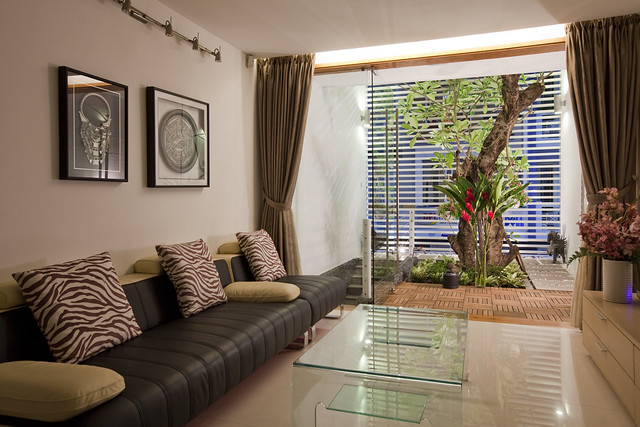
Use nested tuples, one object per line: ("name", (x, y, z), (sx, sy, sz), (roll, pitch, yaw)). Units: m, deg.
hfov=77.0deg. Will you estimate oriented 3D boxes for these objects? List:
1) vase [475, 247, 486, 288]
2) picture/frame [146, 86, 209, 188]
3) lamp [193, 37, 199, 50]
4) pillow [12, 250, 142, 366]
("vase", (2.584, 0.873, 6.467), (0.163, 0.610, 0.252), (2, 7, 26))
("picture/frame", (-1.442, -0.752, 3.980), (0.107, 1.085, 1.072), (-1, -3, 23))
("lamp", (-1.256, -1.708, 4.056), (0.058, 0.117, 0.132), (-3, 6, -18))
("pillow", (-1.688, 0.674, 2.871), (0.360, 0.671, 0.707), (-3, 3, 20))
